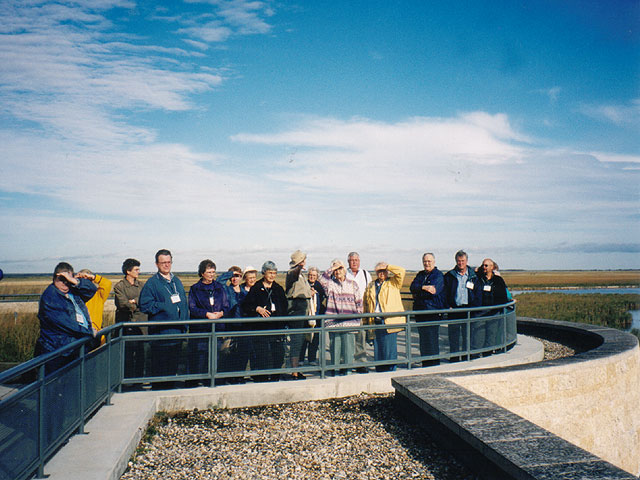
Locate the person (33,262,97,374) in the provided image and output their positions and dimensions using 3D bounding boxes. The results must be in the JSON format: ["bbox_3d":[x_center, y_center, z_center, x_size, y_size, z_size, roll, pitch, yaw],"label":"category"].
[{"bbox_3d":[-3.448,0.974,6.943,0.673,1.353,0.674,5,0,-27],"label":"person"}]
